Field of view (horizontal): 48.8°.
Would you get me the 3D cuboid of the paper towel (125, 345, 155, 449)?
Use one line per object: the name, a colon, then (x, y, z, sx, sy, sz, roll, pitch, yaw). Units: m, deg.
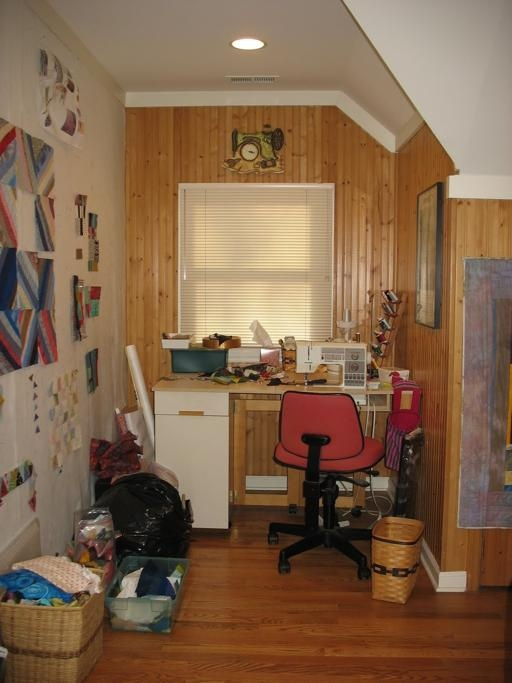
paper towel: (-0.785, 0.357, 3.725, 0.170, 0.657, 0.245, -1, 4, -14)

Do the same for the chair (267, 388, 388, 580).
chair: (0.353, 0.639, 2.910, 0.558, 0.930, 0.601, 2, 9, 17)

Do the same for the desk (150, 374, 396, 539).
desk: (0.061, 0.630, 3.494, 1.349, 0.867, 0.456, 1, 9, -12)

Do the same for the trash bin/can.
trash bin/can: (0.660, 0.964, 2.580, 0.211, 0.264, 0.345, 2, 9, 13)

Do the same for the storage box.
storage box: (-0.472, 1.045, 2.375, 0.293, 0.183, 0.367, 0, 4, 1)
